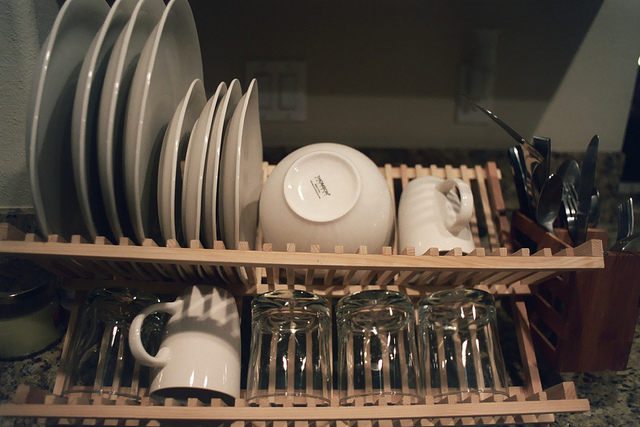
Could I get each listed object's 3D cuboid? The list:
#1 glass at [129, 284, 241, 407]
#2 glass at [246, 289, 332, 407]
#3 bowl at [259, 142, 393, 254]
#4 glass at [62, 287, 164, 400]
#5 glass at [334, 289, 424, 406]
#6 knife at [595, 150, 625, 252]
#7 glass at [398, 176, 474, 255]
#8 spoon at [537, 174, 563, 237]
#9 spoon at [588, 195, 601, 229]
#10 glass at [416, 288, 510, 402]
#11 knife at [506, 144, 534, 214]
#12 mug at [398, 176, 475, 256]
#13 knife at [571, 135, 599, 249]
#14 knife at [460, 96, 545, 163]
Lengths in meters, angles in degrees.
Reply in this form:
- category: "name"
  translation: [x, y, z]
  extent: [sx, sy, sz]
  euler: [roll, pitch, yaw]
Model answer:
- category: "glass"
  translation: [-0.282, 0.258, 1.152]
  extent: [0.150, 0.205, 0.239]
  euler: [-5, -11, 40]
- category: "glass"
  translation: [-0.063, 0.277, 1.132]
  extent: [0.169, 0.162, 0.164]
  euler: [0, 34, -1]
- category: "bowl"
  translation: [0.014, -0.027, 1.174]
  extent: [0.224, 0.257, 0.118]
  euler: [-9, -12, 4]
- category: "glass"
  translation: [-0.408, 0.302, 1.262]
  extent: [0.212, 0.182, 0.226]
  euler: [5, 73, 10]
- category: "glass"
  translation: [0.121, 0.297, 1.243]
  extent: [0.194, 0.217, 0.252]
  euler: [-6, 63, 11]
- category: "knife"
  translation: [0.740, -0.023, 1.423]
  extent: [0.031, 0.266, 0.036]
  euler: [1, -9, 19]
- category: "glass"
  translation: [0.244, 0.011, 1.278]
  extent: [0.116, 0.196, 0.186]
  euler: [9, 66, -11]
- category: "spoon"
  translation: [0.512, -0.026, 1.249]
  extent: [0.038, 0.165, 0.022]
  euler: [-3, 14, -18]
- category: "spoon"
  translation: [0.620, -0.002, 1.273]
  extent: [0.014, 0.060, 0.056]
  euler: [5, -11, -3]
- category: "glass"
  translation: [0.324, 0.282, 1.215]
  extent: [0.136, 0.148, 0.174]
  euler: [-8, 60, 1]
- category: "knife"
  translation: [0.482, -0.098, 1.361]
  extent: [0.044, 0.196, 0.037]
  euler: [-9, -3, -28]
- category: "mug"
  translation: [0.240, 0.018, 1.266]
  extent: [0.116, 0.197, 0.185]
  euler: [8, 59, -10]
- category: "knife"
  translation: [0.594, -0.040, 1.241]
  extent: [0.044, 0.222, 0.145]
  euler: [14, 35, 21]
- category: "knife"
  translation: [0.439, -0.198, 1.320]
  extent: [0.323, 0.044, 0.045]
  euler: [31, -9, -32]
